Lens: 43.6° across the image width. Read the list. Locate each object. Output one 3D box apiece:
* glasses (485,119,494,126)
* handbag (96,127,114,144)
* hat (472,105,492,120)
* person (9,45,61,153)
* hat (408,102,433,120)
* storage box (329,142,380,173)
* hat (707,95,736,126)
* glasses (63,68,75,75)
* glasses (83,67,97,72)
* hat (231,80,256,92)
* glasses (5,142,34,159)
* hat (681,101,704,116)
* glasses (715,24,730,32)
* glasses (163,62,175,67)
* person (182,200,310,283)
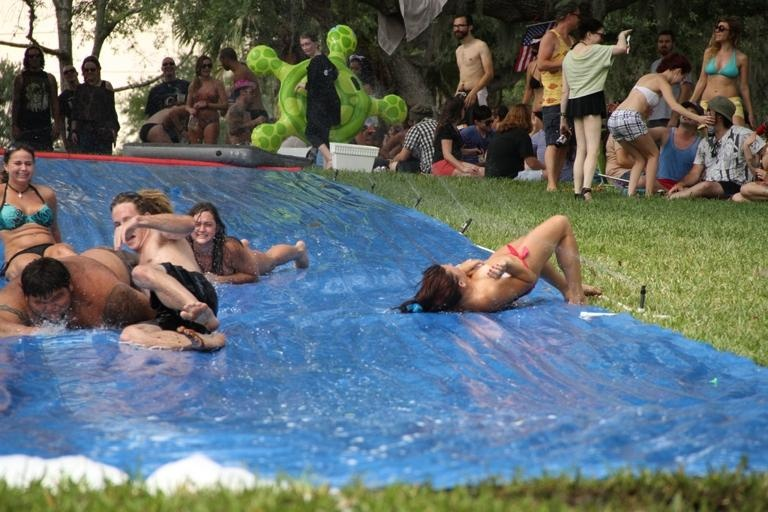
[{"bbox_3d":[1.680,-2.119,15.484,0.050,0.136,0.144,-5,-2,42],"label":"glasses"},{"bbox_3d":[-4.453,-1.889,15.324,0.116,0.282,0.319,7,8,44],"label":"handbag"},{"bbox_3d":[1.534,-2.226,15.148,0.265,0.182,0.242,12,-14,7],"label":"hat"},{"bbox_3d":[-5.294,-2.328,14.465,0.583,1.538,0.916,2,6,1],"label":"person"},{"bbox_3d":[0.634,-2.413,16.409,0.386,0.275,0.481,1,5,-3],"label":"hat"},{"bbox_3d":[-0.540,-1.587,15.735,0.751,0.385,0.523,3,2,-27],"label":"storage box"},{"bbox_3d":[4.668,-1.992,13.259,0.378,0.389,0.313,2,6,10],"label":"hat"},{"bbox_3d":[-5.090,-2.950,15.488,0.117,0.107,0.149,-14,-3,-9],"label":"glasses"},{"bbox_3d":[-4.558,-2.847,14.855,0.211,0.056,0.105,-1,6,-25],"label":"glasses"},{"bbox_3d":[-2.527,-2.958,16.942,0.263,0.107,0.198,-5,3,34],"label":"hat"},{"bbox_3d":[-3.885,-1.056,10.135,0.223,0.056,0.231,24,41,32],"label":"glasses"},{"bbox_3d":[4.330,-2.047,13.389,0.327,0.125,0.240,37,-1,-7],"label":"hat"},{"bbox_3d":[4.643,-3.077,13.131,0.143,0.043,0.113,3,8,-21],"label":"glasses"},{"bbox_3d":[-3.580,-3.170,15.946,0.177,0.098,0.108,-2,6,-29],"label":"glasses"},{"bbox_3d":[-1.579,-0.112,10.487,0.807,0.748,1.863,6,7,29],"label":"person"}]
